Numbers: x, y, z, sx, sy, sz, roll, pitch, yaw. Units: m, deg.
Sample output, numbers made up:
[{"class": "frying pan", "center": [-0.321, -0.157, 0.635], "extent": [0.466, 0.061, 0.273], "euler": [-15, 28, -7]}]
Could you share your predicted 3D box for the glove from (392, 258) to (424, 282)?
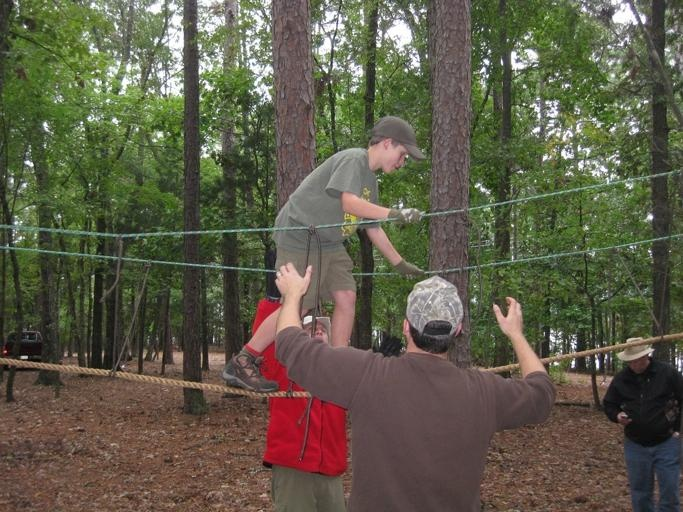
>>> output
[{"class": "glove", "center": [1.416, 0.306, 16.406], "extent": [0.515, 0.236, 0.389], "euler": [28, -10, -29]}]

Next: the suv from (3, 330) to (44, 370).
[{"class": "suv", "center": [-13.063, 3.765, 32.887], "extent": [1.709, 1.625, 3.353], "euler": [1, -4, -20]}]

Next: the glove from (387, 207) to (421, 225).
[{"class": "glove", "center": [1.266, -0.778, 15.818], "extent": [0.520, 0.174, 0.309], "euler": [5, -17, -3]}]

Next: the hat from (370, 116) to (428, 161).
[{"class": "hat", "center": [1.189, -2.429, 16.212], "extent": [1.034, 0.581, 0.689], "euler": [23, 13, -8]}]

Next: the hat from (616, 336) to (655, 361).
[{"class": "hat", "center": [6.621, 2.035, 17.864], "extent": [0.751, 0.386, 0.838], "euler": [-25, 2, -42]}]
